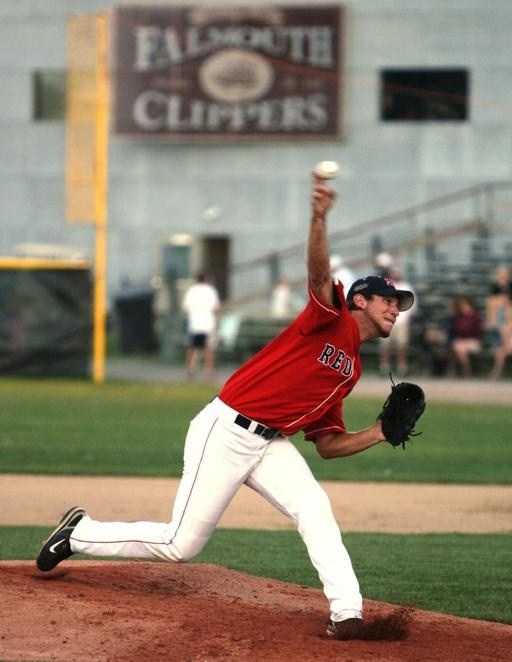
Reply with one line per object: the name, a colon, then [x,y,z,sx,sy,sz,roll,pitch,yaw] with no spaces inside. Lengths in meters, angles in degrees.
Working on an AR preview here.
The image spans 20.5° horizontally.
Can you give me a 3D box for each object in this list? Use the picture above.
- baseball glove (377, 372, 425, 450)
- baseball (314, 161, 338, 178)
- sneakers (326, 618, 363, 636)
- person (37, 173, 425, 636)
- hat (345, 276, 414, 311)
baseball glove: [0.703,0.438,7.449,0.283,0.367,0.110,31,-22,-36]
baseball: [0.342,-0.772,6.848,0.121,0.097,0.177,3,3,3]
sneakers: [0.435,1.481,6.988,0.200,0.086,0.070,-5,11,4]
person: [-0.068,0.357,7.180,1.525,2.276,0.535,4,3,15]
hat: [0.623,-0.173,7.215,0.286,0.151,0.186,-1,-2,16]
